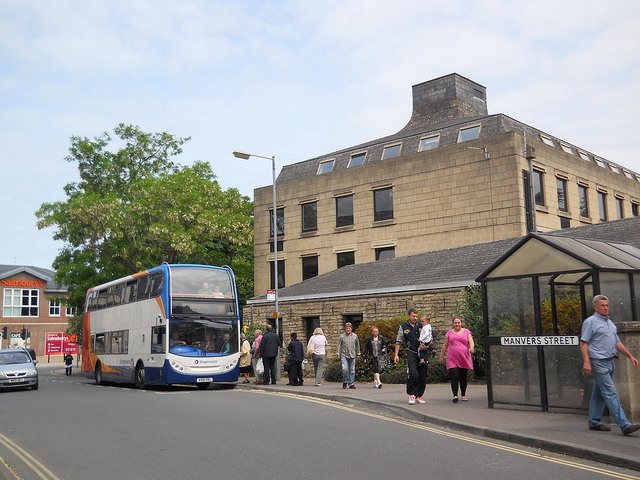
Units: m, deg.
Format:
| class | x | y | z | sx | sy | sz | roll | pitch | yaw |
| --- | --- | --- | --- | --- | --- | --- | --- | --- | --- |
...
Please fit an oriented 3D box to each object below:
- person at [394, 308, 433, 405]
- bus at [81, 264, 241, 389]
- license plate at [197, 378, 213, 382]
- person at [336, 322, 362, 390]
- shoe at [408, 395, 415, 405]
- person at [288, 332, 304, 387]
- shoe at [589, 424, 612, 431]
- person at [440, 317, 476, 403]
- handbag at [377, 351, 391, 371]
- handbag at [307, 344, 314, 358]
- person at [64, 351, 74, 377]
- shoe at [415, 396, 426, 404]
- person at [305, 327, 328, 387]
| class | x | y | z | sx | sy | sz | roll | pitch | yaw |
| --- | --- | --- | --- | --- | --- | --- | --- | --- | --- |
| person | 2.252 | 2.780 | 16.488 | 0.786 | 2.249 | 0.989 | -2 | -9 | 4 |
| bus | -6.305 | 3.908 | 27.619 | 3.396 | 4.270 | 9.466 | 8 | -17 | -34 |
| license plate | -4.031 | 4.796 | 23.593 | 0.514 | 0.141 | 0.214 | 0 | -10 | -12 |
| person | 0.874 | 3.612 | 21.650 | 0.707 | 2.079 | 1.428 | -2 | -9 | 2 |
| shoe | 2.167 | 3.765 | 16.229 | 0.124 | 0.218 | 0.134 | -3 | -9 | 7 |
| person | -0.868 | 4.009 | 23.181 | 0.515 | 1.779 | 0.872 | -1 | -9 | -3 |
| shoe | 5.227 | 3.461 | 12.774 | 0.399 | 0.172 | 0.142 | -3 | -4 | 9 |
| person | 3.399 | 2.925 | 16.864 | 0.775 | 2.040 | 1.321 | -3 | -9 | 11 |
| handbag | 2.017 | 3.953 | 22.576 | 0.574 | 0.752 | 0.369 | 2 | -2 | -27 |
| handbag | -0.341 | 3.529 | 22.435 | 0.215 | 0.264 | 0.120 | 6 | -12 | -40 |
| person | -15.922 | 7.683 | 42.840 | 0.430 | 1.500 | 2.154 | 2 | -11 | -21 |
| shoe | 2.405 | 3.841 | 16.453 | 0.250 | 0.148 | 0.328 | -5 | -11 | 18 |
| person | -0.128 | 3.876 | 22.734 | 0.606 | 1.871 | 1.076 | -1 | -9 | -2 |
